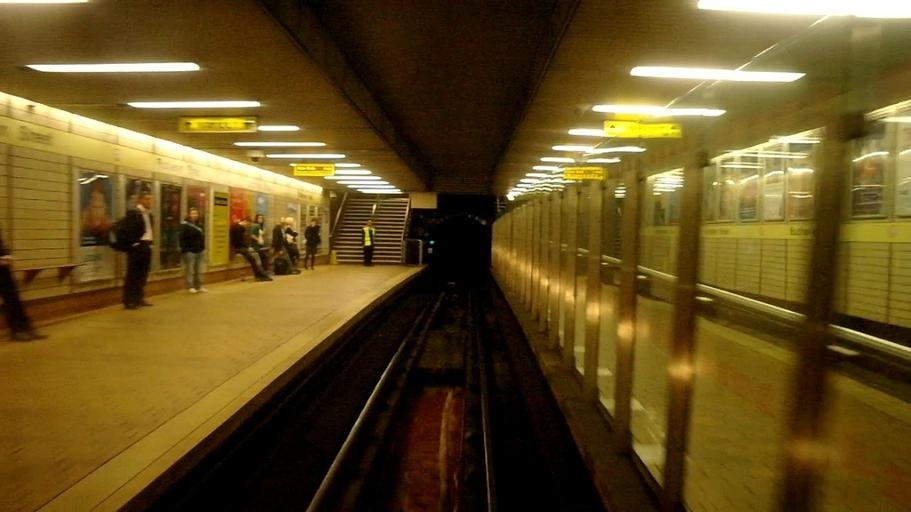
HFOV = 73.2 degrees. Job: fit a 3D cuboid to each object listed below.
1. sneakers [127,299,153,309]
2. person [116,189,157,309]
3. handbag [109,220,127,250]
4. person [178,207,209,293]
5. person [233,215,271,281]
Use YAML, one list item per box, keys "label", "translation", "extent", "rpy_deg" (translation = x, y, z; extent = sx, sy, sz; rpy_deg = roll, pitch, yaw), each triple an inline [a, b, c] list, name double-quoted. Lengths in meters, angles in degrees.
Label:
- label: "sneakers"
  translation: [-6.344, 0.953, 12.261]
  extent: [0.392, 0.226, 0.127]
  rpy_deg: [-14, -17, 31]
- label: "person"
  translation: [-6.338, -0.108, 12.046]
  extent: [0.604, 2.280, 0.641]
  rpy_deg: [-3, 6, -21]
- label: "handbag"
  translation: [-6.512, -0.424, 11.741]
  extent: [0.340, 0.597, 0.122]
  rpy_deg: [2, 7, 27]
- label: "person"
  translation: [-6.105, -0.131, 14.122]
  extent: [0.498, 1.963, 0.644]
  rpy_deg: [-3, 6, -21]
- label: "person"
  translation: [-5.648, -0.206, 16.904]
  extent: [0.870, 1.722, 1.152]
  rpy_deg: [-1, 6, -5]
